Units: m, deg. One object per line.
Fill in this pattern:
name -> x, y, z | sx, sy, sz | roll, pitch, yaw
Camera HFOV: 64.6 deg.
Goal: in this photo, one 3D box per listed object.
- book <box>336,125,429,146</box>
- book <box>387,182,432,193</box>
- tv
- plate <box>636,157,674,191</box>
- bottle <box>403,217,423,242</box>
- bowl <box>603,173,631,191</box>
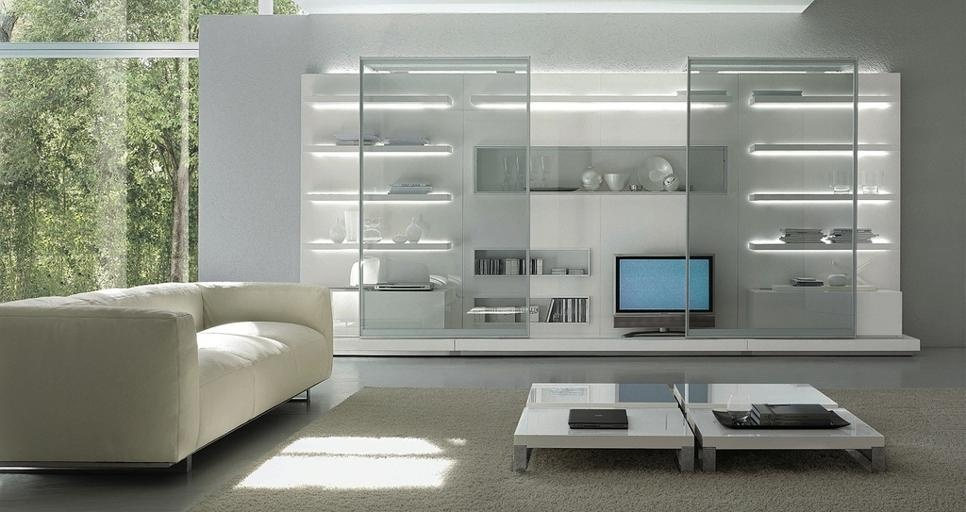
book -> -1.339, -1.506, 9.706 | 1.229, 0.234, 0.554 | 6, 9, 39
book -> -0.898, -0.850, 9.536 | 0.524, 0.143, 0.055 | 0, 9, -7
tv -> 2.336, 0.484, 9.743 | 1.403, 0.808, 0.317 | 0, -4, 3
plate -> 2.261, -1.092, 10.075 | 0.503, 0.434, 0.171 | 1, 9, 6
bottle -> -0.872, -0.314, 9.339 | 0.337, 0.376, 0.313 | -1, 4, -3
bowl -> 1.750, -0.973, 10.155 | 0.312, 0.149, 0.270 | 0, -8, -7
